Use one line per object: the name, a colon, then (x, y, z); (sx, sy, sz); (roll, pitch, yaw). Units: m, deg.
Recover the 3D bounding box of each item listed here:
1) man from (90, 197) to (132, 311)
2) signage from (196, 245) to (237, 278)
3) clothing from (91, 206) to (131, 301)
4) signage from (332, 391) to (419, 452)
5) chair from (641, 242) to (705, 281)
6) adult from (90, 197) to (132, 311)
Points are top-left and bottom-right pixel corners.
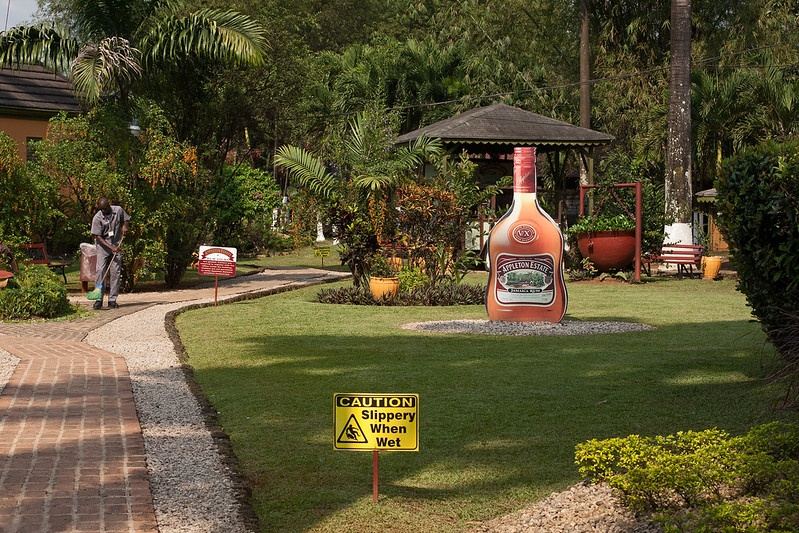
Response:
man: (-6.059, -0.286, 16.908); (0.788, 2.380, 0.686); (-3, 1, -19)
signage: (-4.240, -0.130, 18.709); (1.029, 0.750, 0.134); (0, -2, -3)
clothing: (-6.014, -0.285, 16.927); (0.806, 2.280, 0.920); (-2, -1, 27)
signage: (-0.201, 1.318, 6.840); (0.557, 0.371, 0.020); (0, -2, -1)
chair: (8.380, -0.207, 25.010); (1.901, 0.922, 0.804); (5, 9, 45)
adult: (-6.063, -0.286, 16.896); (0.789, 2.380, 0.643); (-3, 1, -13)
